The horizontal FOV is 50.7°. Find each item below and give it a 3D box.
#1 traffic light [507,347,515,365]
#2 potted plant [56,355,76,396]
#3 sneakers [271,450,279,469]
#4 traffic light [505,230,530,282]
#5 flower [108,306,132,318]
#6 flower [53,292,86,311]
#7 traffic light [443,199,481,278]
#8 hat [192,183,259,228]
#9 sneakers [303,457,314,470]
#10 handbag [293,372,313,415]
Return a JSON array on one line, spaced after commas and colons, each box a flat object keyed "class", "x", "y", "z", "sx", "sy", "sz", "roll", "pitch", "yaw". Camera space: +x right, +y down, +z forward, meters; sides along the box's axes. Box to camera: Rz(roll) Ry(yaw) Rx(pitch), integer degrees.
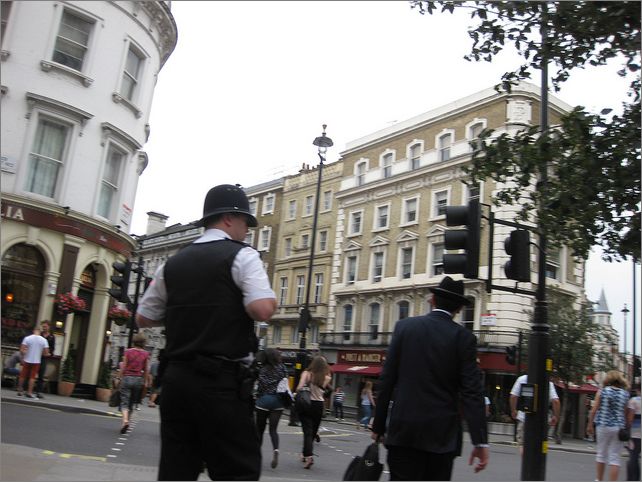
[{"class": "traffic light", "x": 7.609, "y": 4.493, "z": 26.979, "sx": 0.307, "sy": 0.730, "sz": 0.860, "roll": 4, "pitch": -15, "yaw": 10}, {"class": "potted plant", "x": -8.152, "y": 4.308, "z": 21.742, "sx": 0.481, "sy": 1.294, "sz": 0.415, "roll": 12, "pitch": -20, "yaw": -13}, {"class": "sneakers", "x": -0.851, "y": 3.874, "z": 12.106, "sx": 0.167, "sy": 0.284, "sz": 0.159, "roll": 6, "pitch": 3, "yaw": -7}, {"class": "traffic light", "x": 3.389, "y": 0.229, "z": 11.608, "sx": 0.428, "sy": 1.013, "sz": 0.401, "roll": 3, "pitch": -20, "yaw": 14}, {"class": "flower", "x": -7.016, "y": 2.502, "z": 23.736, "sx": 0.779, "sy": 0.302, "sz": 0.587, "roll": 3, "pitch": 0, "yaw": 7}, {"class": "flower", "x": -8.116, "y": 1.976, "z": 21.862, "sx": 0.639, "sy": 0.668, "sz": 0.746, "roll": 1, "pitch": -16, "yaw": 15}, {"class": "traffic light", "x": 2.394, "y": -0.075, "z": 11.409, "sx": 0.621, "sy": 1.470, "sz": 0.608, "roll": 4, "pitch": -19, "yaw": 9}, {"class": "hat", "x": -0.907, "y": -0.328, "z": 6.627, "sx": 0.803, "sy": 0.279, "sz": 0.554, "roll": 0, "pitch": -3, "yaw": -5}, {"class": "sneakers", "x": -0.231, "y": 4.117, "z": 12.731, "sx": 0.156, "sy": 0.109, "sz": 0.348, "roll": -1, "pitch": -8, "yaw": -14}, {"class": "handbag", "x": -0.326, "y": 2.937, "z": 12.862, "sx": 0.321, "sy": 0.689, "sz": 0.436, "roll": 7, "pitch": -18, "yaw": 0}]
